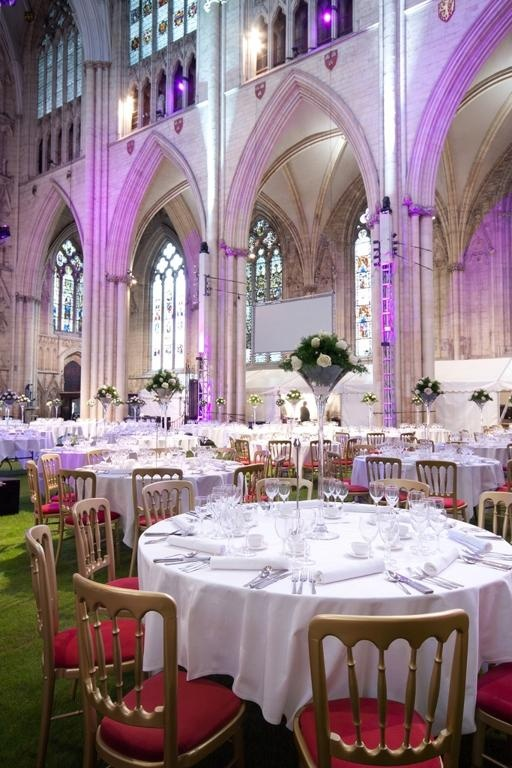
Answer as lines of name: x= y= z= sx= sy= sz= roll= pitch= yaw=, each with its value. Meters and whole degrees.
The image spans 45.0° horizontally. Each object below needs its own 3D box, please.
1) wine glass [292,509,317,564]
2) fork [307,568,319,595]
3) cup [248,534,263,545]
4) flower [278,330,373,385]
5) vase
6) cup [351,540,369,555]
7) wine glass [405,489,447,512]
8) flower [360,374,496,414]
wine glass: x=0.186 y=0.614 z=2.467 sx=0.122 sy=0.266 sz=0.140 roll=-1 pitch=-14 yaw=4
fork: x=0.181 y=0.646 z=2.017 sx=0.027 sy=0.024 sz=0.199 roll=-5 pitch=2 yaw=13
cup: x=-0.007 y=0.622 z=2.461 sx=0.048 sy=0.032 sz=0.038 roll=4 pitch=-11 yaw=-23
flower: x=0.379 y=-0.125 z=3.898 sx=0.330 sy=0.324 sz=0.346 roll=-3 pitch=-3 yaw=34
vase: x=0.442 y=0.429 z=4.019 sx=0.362 sy=1.262 sz=0.367 roll=10 pitch=22 yaw=35
cup: x=0.393 y=0.631 z=2.366 sx=0.054 sy=0.039 sz=0.053 roll=0 pitch=0 yaw=0
wine glass: x=0.697 y=0.493 z=2.597 sx=0.134 sy=0.141 sz=0.135 roll=3 pitch=-5 yaw=-36
flower: x=2.491 y=0.194 z=10.086 sx=1.188 sy=0.570 sz=1.215 roll=-6 pitch=-7 yaw=43
